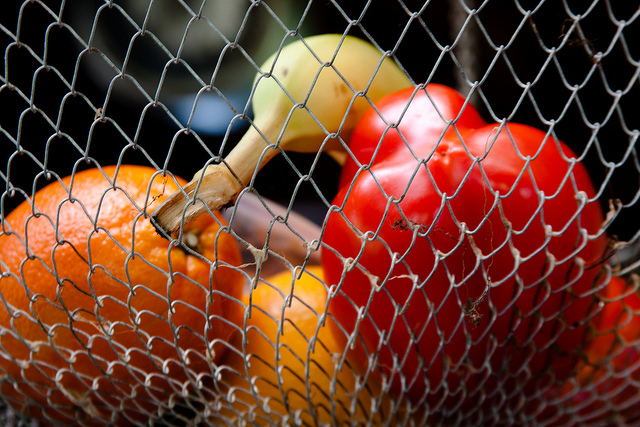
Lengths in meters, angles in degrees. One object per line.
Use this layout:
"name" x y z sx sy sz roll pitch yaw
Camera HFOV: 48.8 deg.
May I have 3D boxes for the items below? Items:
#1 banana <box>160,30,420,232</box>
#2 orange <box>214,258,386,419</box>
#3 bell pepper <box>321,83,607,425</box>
"banana" -0.022 -0.103 0.726 0.323 0.138 0.093 -45 -27 -21
"orange" -0.016 0.108 0.730 0.139 0.160 0.218 -1 -88 6
"bell pepper" 0.143 0.042 0.732 0.281 0.272 0.238 -7 -45 -1
